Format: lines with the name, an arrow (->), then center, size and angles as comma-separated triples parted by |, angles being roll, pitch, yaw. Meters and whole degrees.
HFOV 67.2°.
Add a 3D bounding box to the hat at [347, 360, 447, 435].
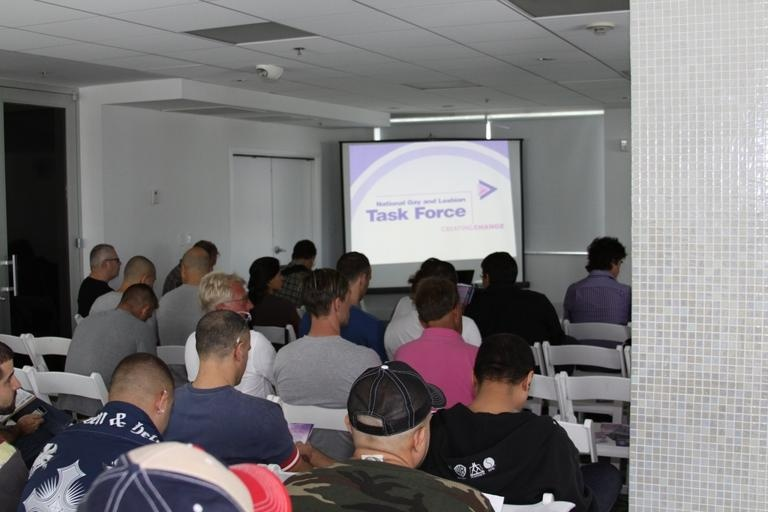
hat -> 0.031, 0.532, 2.133 | 0.225, 0.215, 0.270 | 6, 6, 44
